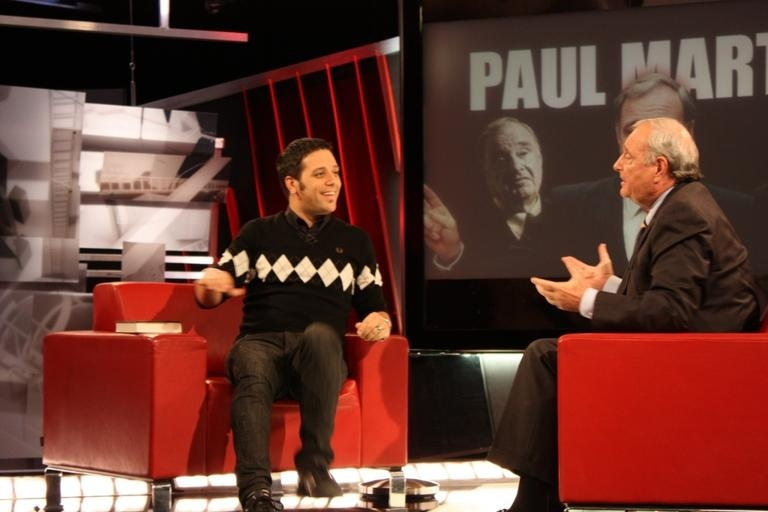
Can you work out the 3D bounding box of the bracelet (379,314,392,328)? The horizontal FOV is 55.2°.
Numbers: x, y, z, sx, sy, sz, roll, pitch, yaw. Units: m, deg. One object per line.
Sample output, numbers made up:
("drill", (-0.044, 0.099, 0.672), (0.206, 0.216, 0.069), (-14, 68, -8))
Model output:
("bracelet", (0.011, 0.291, 3.342), (0.080, 0.078, 0.076), (0, -5, -2))
